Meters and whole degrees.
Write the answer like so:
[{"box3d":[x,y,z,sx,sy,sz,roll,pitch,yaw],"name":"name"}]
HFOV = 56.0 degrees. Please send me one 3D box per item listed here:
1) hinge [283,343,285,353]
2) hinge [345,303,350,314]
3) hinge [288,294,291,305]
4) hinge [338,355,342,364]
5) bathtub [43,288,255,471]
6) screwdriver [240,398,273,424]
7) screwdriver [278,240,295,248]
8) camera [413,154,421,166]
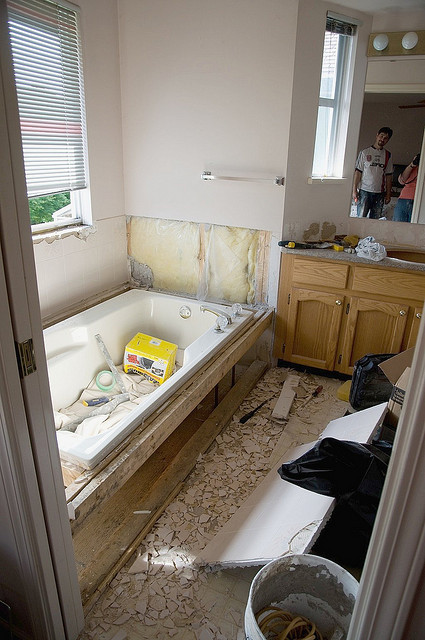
[{"box3d":[0.520,0.218,2.929,0.020,0.093,0.021,13,36,23],"name":"hinge"},{"box3d":[0.897,-0.073,2.666,0.005,0.073,0.020,-12,22,-34],"name":"hinge"},{"box3d":[0.538,-0.145,2.819,0.003,0.072,0.019,-14,23,-38],"name":"hinge"},{"box3d":[0.886,0.280,2.794,0.023,0.070,0.005,9,20,26],"name":"hinge"},{"box3d":[-0.500,0.321,2.546,0.679,0.451,1.091,14,34,26],"name":"bathtub"},{"box3d":[0.282,0.592,2.537,0.056,0.043,0.296,10,30,34],"name":"screwdriver"},{"box3d":[0.488,-0.509,2.677,0.091,0.037,0.092,15,25,36],"name":"screwdriver"},{"box3d":[1.288,-1.016,2.533,0.020,0.052,0.034,-12,27,-39],"name":"camera"}]
